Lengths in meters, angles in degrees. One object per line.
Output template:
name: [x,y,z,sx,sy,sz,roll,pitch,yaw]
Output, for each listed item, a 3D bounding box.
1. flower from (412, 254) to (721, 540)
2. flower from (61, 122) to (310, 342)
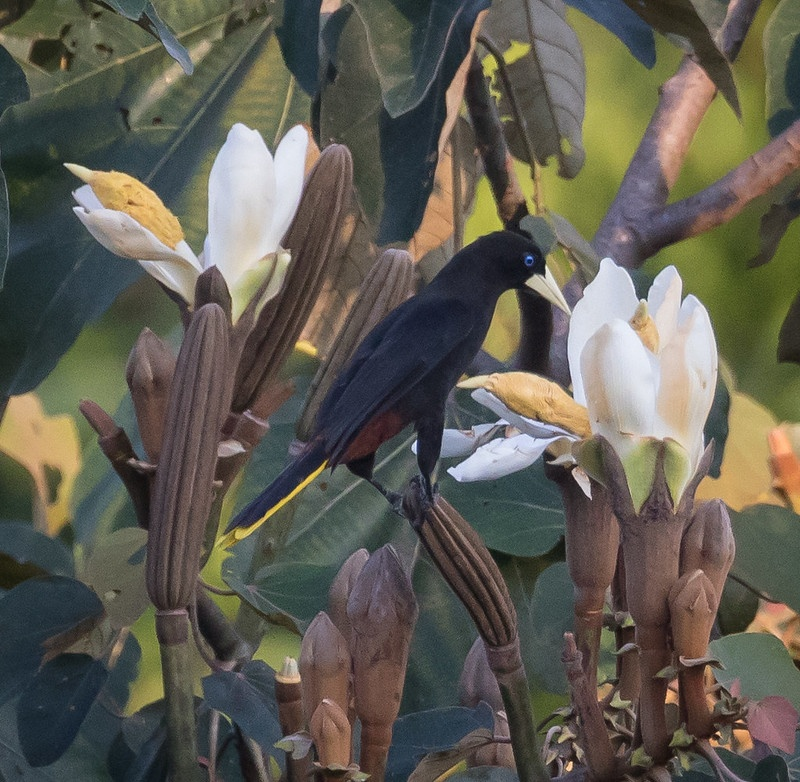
flower: [0.096,-0.017,0.945,0.135,0.123,0.138,-17,7,22]
flower: [-0.110,-0.069,0.945,0.106,0.076,0.120,-22,10,21]
